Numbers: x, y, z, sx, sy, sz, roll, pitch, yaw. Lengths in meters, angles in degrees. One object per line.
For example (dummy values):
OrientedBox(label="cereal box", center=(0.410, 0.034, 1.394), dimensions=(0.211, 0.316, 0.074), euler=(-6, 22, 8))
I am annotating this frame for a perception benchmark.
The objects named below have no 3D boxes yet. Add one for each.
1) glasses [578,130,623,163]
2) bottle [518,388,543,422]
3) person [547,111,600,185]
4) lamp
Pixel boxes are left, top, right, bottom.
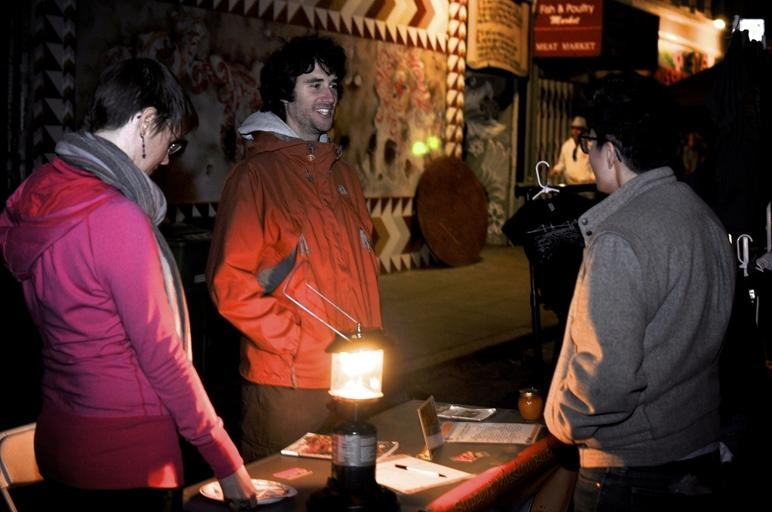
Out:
OrientedBox(label="glasses", center=(1.089, -0.580, 3.774), dimensions=(0.189, 0.065, 0.188), euler=(18, 2, -17))
OrientedBox(label="bottle", center=(0.816, 0.843, 4.252), dimensions=(0.153, 0.201, 0.158), euler=(-1, -2, 0))
OrientedBox(label="person", center=(3.069, -1.357, 12.308), dimensions=(0.773, 1.699, 0.610), euler=(4, 16, 22))
OrientedBox(label="lamp", center=(-0.129, 0.658, 3.332), dimensions=(0.255, 0.688, 0.251), euler=(-2, 2, -2))
